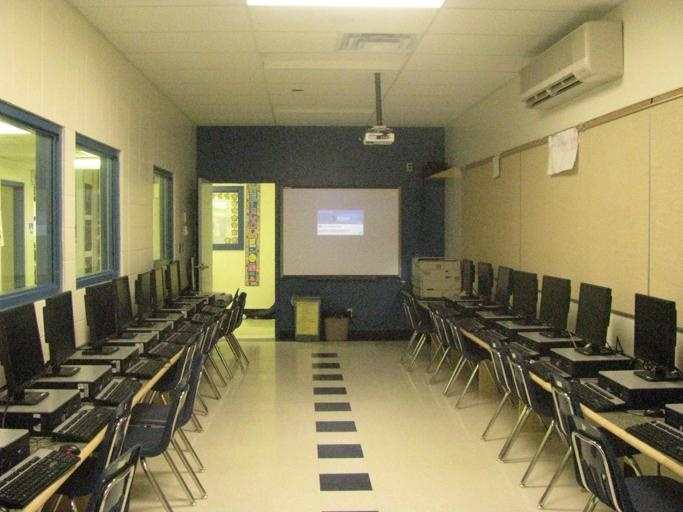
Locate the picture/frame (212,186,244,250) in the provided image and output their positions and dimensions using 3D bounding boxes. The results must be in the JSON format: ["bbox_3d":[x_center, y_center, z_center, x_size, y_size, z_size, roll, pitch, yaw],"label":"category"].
[{"bbox_3d":[-2.207,-0.755,9.999,0.589,1.269,0.117,1,8,6],"label":"picture/frame"}]

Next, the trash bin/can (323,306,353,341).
[{"bbox_3d":[-0.056,1.104,8.266,0.567,0.669,0.485,1,-3,-3],"label":"trash bin/can"}]

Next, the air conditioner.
[{"bbox_3d":[2.098,-1.777,4.669,0.334,0.637,1.008,-1,7,-10],"label":"air conditioner"}]

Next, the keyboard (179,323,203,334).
[{"bbox_3d":[-1.600,0.776,5.427,0.200,0.045,0.210,2,4,-2],"label":"keyboard"}]
